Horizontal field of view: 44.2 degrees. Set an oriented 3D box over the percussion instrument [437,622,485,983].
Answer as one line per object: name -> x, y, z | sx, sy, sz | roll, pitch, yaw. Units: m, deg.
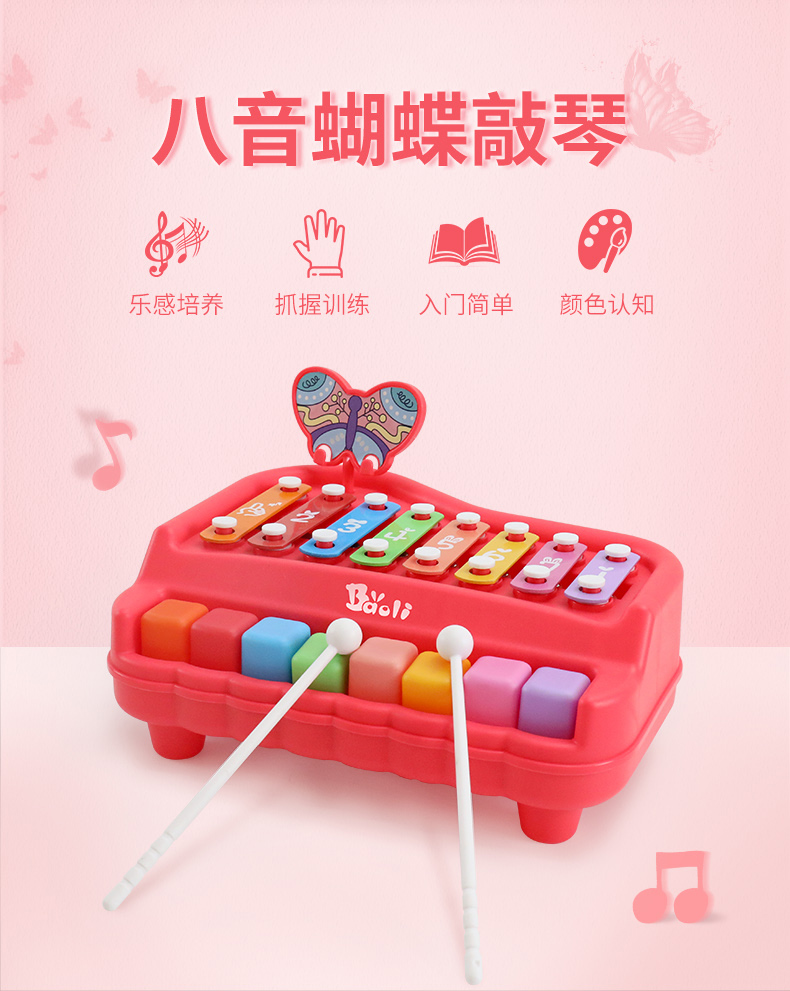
percussion instrument -> 0.073, 0.409, 1.282 | 0.064, 0.351, 0.057 | -8, -29, 7
